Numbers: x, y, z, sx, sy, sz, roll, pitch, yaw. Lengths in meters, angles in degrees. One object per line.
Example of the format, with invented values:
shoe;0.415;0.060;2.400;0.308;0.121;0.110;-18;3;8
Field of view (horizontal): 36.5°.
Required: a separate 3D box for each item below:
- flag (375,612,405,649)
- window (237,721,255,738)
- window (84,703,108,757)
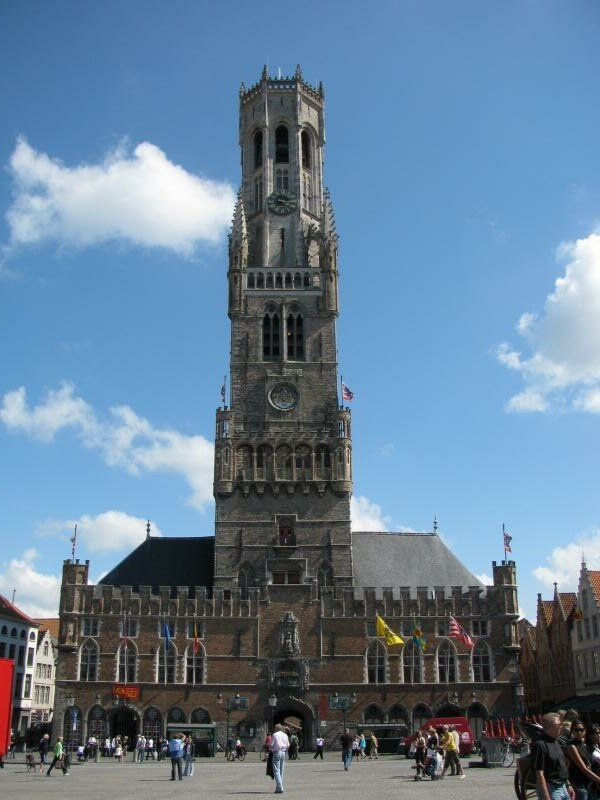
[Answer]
flag;5.575;14.402;56.774;2.523;2.601;0.389;0;-13;-3
window;-3.299;19.945;55.202;1.130;1.187;0.139;0;-20;1
window;-12.341;20.132;55.311;1.136;2.848;0.156;2;5;-8
